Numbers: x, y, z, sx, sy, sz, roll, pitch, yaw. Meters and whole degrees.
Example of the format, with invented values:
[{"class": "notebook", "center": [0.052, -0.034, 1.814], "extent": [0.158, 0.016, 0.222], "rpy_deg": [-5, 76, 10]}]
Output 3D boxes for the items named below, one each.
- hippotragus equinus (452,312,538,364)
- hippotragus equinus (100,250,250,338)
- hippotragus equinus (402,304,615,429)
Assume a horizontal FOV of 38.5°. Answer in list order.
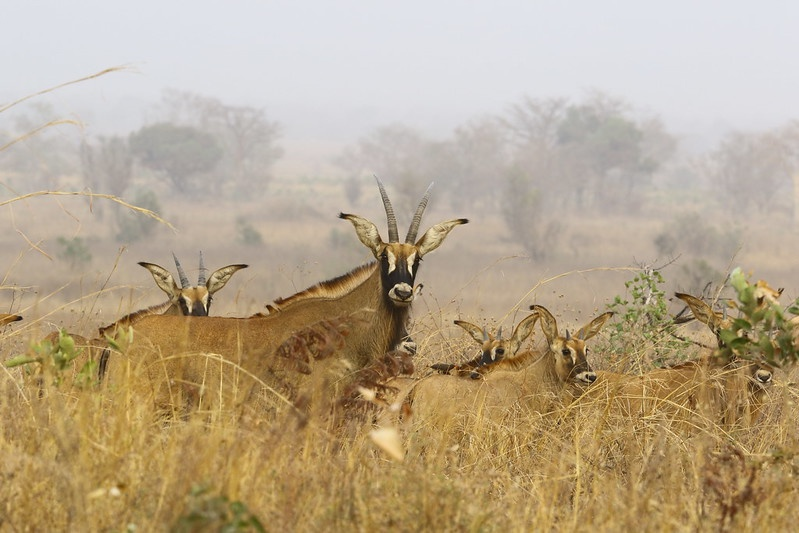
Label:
[{"class": "hippotragus equinus", "center": [1.144, 0.985, 13.939], "extent": [0.941, 0.591, 1.159], "rpy_deg": [-3, -8, -39]}, {"class": "hippotragus equinus", "center": [-2.952, 0.525, 16.182], "extent": [1.501, 1.349, 1.706], "rpy_deg": [-1, 7, -23]}, {"class": "hippotragus equinus", "center": [1.149, 1.107, 12.574], "extent": [2.056, 1.392, 1.143], "rpy_deg": [7, -8, -24]}]
